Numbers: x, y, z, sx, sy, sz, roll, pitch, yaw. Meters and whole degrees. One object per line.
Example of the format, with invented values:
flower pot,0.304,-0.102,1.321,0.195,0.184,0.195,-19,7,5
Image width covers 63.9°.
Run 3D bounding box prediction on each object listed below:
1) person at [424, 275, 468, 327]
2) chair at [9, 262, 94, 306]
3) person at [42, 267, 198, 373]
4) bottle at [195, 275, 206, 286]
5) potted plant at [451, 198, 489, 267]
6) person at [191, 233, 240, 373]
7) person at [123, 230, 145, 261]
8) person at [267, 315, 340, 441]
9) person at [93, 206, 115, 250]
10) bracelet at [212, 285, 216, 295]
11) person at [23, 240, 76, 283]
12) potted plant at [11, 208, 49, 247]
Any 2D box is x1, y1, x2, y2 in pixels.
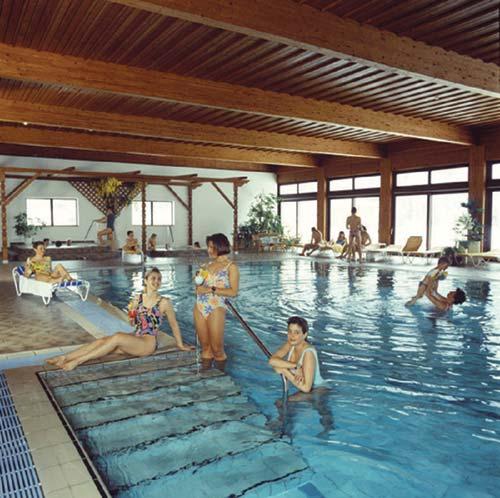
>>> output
person,3.227,0.893,6.806,0.543,0.696,0.359,32,40,23
chair,-3.944,0.523,7.407,1.138,0.405,0.683,6,9,-40
person,-1.265,0.695,3.913,1.340,0.755,0.583,-13,12,-10
bottle,-0.493,0.316,3.851,0.094,0.066,0.100,-1,-3,0
potted plant,7.019,-0.523,12.814,0.882,1.997,1.717,-1,3,29
person,-0.345,0.520,4.071,0.466,1.352,0.553,-3,3,-7
person,-4.100,-0.079,14.053,0.692,1.065,1.820,-3,2,-15
person,0.453,1.132,3.465,0.515,0.995,0.402,-7,8,-14
person,-5.946,-0.920,16.538,0.793,1.723,1.608,-3,3,-18
bracelet,-0.347,0.398,3.861,0.036,0.077,0.048,-3,3,-6
person,-3.635,0.258,7.311,1.064,0.649,0.508,6,18,23
potted plant,-8.661,-0.785,15.499,1.001,1.315,1.318,-3,2,-15
